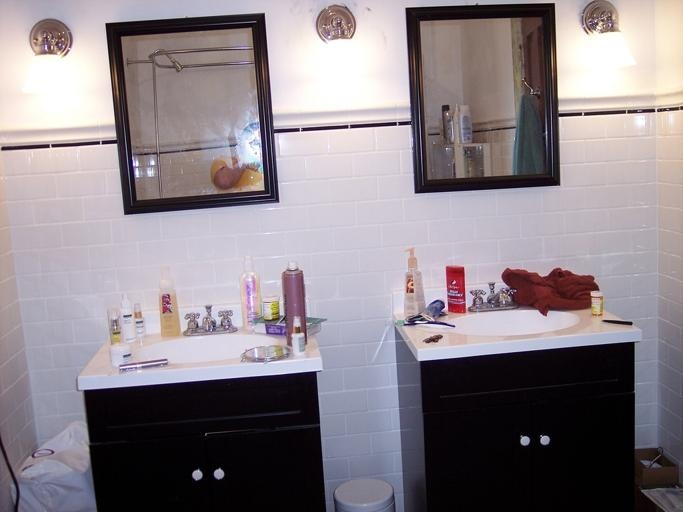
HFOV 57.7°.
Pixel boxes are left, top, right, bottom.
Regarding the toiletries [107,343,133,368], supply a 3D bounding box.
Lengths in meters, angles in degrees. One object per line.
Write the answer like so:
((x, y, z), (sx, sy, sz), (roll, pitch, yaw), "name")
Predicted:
((-0.890, 0.399, 2.498), (0.085, 0.084, 0.084), (-8, 17, -40), "toiletries")

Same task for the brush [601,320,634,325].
((1.160, 0.286, 2.632), (0.095, 0.014, 0.017), (8, -31, 31), "brush")

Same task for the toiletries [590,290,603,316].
((1.130, 0.214, 2.744), (0.049, 0.104, 0.061), (-1, 10, 22), "toiletries")

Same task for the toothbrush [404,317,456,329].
((0.386, 0.302, 2.763), (0.197, 0.030, 0.035), (4, -13, 9), "toothbrush")

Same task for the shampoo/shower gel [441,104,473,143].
((0.534, -0.608, 2.929), (0.155, 0.236, 0.172), (0, 3, 10), "shampoo/shower gel")

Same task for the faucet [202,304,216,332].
((-0.618, 0.283, 2.873), (0.061, 0.111, 0.159), (-7, 10, -13), "faucet")

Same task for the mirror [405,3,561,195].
((0.642, -0.773, 2.912), (0.817, 0.993, 0.072), (-2, 3, -5), "mirror")

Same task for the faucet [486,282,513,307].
((0.747, 0.190, 2.941), (0.107, 0.104, 0.045), (0, 2, 1), "faucet")

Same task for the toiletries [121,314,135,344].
((-0.956, 0.323, 2.781), (0.053, 0.128, 0.042), (-9, 10, -22), "toiletries")

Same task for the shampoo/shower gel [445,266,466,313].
((0.534, 0.153, 2.903), (0.088, 0.223, 0.142), (-3, 9, 10), "shampoo/shower gel")

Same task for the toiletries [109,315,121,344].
((-1.020, 0.329, 2.797), (0.045, 0.126, 0.071), (-8, 10, -18), "toiletries")

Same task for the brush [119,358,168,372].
((-0.788, 0.436, 2.462), (0.191, 0.023, 0.084), (-3, 10, 12), "brush")

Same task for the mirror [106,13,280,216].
((-0.696, -0.684, 2.840), (0.818, 0.987, 0.059), (-4, 9, -6), "mirror")

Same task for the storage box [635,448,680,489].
((1.514, 1.031, 3.008), (0.132, 0.062, 0.183), (-1, 2, 10), "storage box")
